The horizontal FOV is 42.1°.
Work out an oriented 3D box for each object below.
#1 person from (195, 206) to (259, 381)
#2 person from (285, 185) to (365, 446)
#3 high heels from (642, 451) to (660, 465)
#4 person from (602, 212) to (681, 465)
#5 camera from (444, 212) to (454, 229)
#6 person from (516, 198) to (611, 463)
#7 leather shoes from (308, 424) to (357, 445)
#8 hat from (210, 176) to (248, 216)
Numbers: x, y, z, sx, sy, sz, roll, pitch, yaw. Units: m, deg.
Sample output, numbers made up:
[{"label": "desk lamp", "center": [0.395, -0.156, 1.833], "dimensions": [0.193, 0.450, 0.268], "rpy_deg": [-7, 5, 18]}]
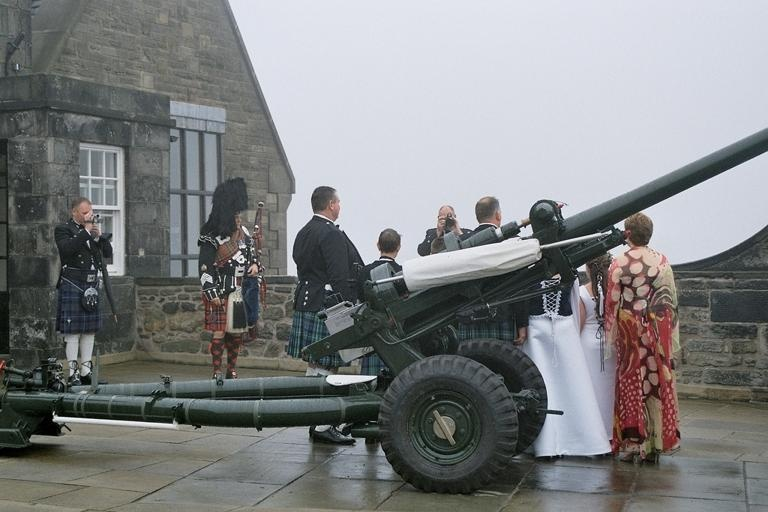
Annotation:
[{"label": "person", "center": [-1.659, 0.431, 10.819], "dimensions": [0.639, 1.749, 0.469], "rpy_deg": [-2, 8, -17]}, {"label": "person", "center": [-0.555, 0.573, 9.643], "dimensions": [0.721, 2.457, 0.663], "rpy_deg": [-1, 7, -6]}, {"label": "high heels", "center": [2.405, 1.817, 8.968], "dimensions": [0.116, 0.144, 0.155], "rpy_deg": [3, -5, -15]}, {"label": "person", "center": [2.333, 0.889, 9.066], "dimensions": [0.679, 1.910, 0.397], "rpy_deg": [1, 7, 13]}, {"label": "camera", "center": [0.686, -0.368, 10.541], "dimensions": [0.105, 0.160, 0.150], "rpy_deg": [-2, -3, -4]}, {"label": "person", "center": [1.664, 1.044, 9.167], "dimensions": [0.713, 1.506, 0.480], "rpy_deg": [-1, 7, -9]}, {"label": "leather shoes", "center": [-0.515, 1.729, 9.621], "dimensions": [0.550, 0.235, 0.183], "rpy_deg": [1, 1, 12]}, {"label": "hat", "center": [-1.649, -0.658, 10.839], "dimensions": [0.407, 0.373, 0.298], "rpy_deg": [-4, 5, -3]}]
